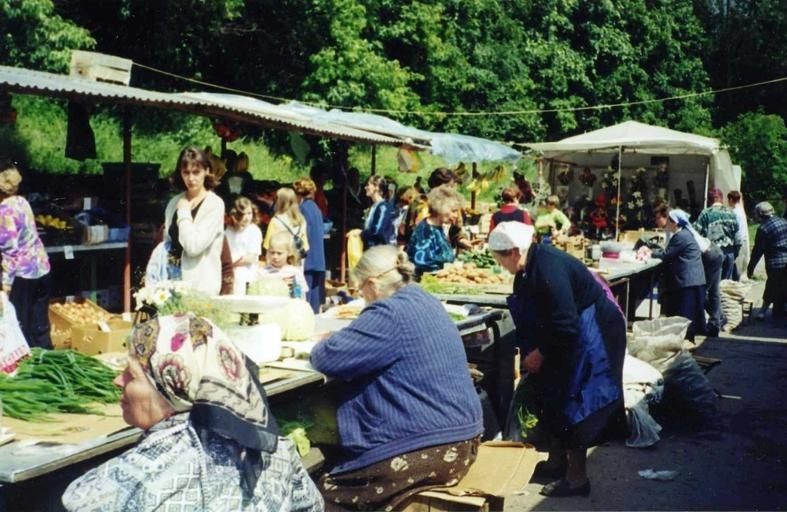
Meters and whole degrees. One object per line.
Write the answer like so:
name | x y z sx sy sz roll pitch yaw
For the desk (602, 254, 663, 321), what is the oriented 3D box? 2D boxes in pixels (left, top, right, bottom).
desk | 3.724 0.399 14.237 0.897 0.717 1.270 4 11 26

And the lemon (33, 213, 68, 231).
lemon | -4.564 -0.446 11.910 0.325 0.096 0.193 17 32 5

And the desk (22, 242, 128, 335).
desk | -4.376 0.447 12.912 1.116 1.244 1.204 1 4 19

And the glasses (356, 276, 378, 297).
glasses | -0.264 0.300 8.772 0.157 0.157 0.189 -4 -3 -38

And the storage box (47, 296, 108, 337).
storage box | -4.298 0.779 12.123 0.609 0.234 0.462 9 10 37

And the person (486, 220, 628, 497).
person | 1.842 1.143 9.817 1.320 3.076 0.755 -1 1 15
